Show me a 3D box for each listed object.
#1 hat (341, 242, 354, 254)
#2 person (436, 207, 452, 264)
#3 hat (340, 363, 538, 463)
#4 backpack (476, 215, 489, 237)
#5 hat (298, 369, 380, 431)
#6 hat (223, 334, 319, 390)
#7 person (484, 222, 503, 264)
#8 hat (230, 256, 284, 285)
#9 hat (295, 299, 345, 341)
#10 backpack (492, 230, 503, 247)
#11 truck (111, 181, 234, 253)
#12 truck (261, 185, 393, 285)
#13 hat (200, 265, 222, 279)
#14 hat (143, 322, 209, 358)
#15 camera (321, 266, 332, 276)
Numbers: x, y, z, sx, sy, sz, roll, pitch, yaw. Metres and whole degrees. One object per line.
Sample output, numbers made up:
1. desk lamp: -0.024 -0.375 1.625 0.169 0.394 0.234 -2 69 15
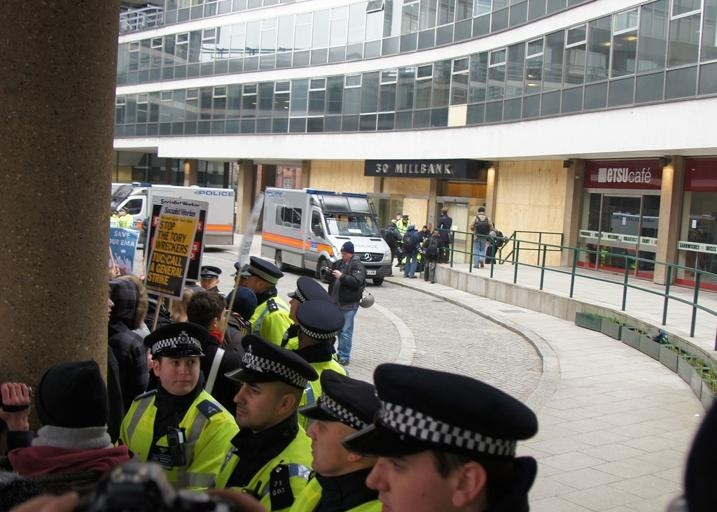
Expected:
1. hat: -0.229 -0.189 12.391 0.198 0.203 0.274 -3 10 -23
2. person: 3.701 -0.994 25.852 0.727 2.432 0.874 6 3 39
3. hat: 0.348 0.649 2.408 0.782 0.357 0.665 11 -11 -34
4. backpack: 5.082 -1.324 23.839 0.627 0.720 0.159 0 4 -12
5. hat: -0.078 0.824 3.340 0.465 0.214 0.369 11 12 6
6. hat: -0.564 0.725 3.865 0.451 0.196 0.393 15 -11 -16
7. person: 5.837 -0.603 24.574 0.994 0.970 0.849 21 21 10
8. hat: -1.418 0.194 8.424 0.564 0.236 0.457 14 8 -8
9. hat: -0.356 0.601 5.361 0.373 0.152 0.424 -19 36 -35
10. backpack: 5.732 -0.738 24.080 0.427 0.742 0.513 -10 5 5
11. truck: -9.896 -2.321 32.277 6.661 3.536 3.406 4 9 -12
12. truck: -1.515 -0.982 25.826 3.199 3.871 7.112 2 4 -33
13. hat: -2.187 0.231 8.528 0.239 0.166 0.445 0 4 -10
14. hat: -1.396 0.670 4.460 0.479 0.218 0.561 -1 -15 -32
15. camera: -0.713 0.301 12.975 0.217 0.113 0.299 15 -18 -3
